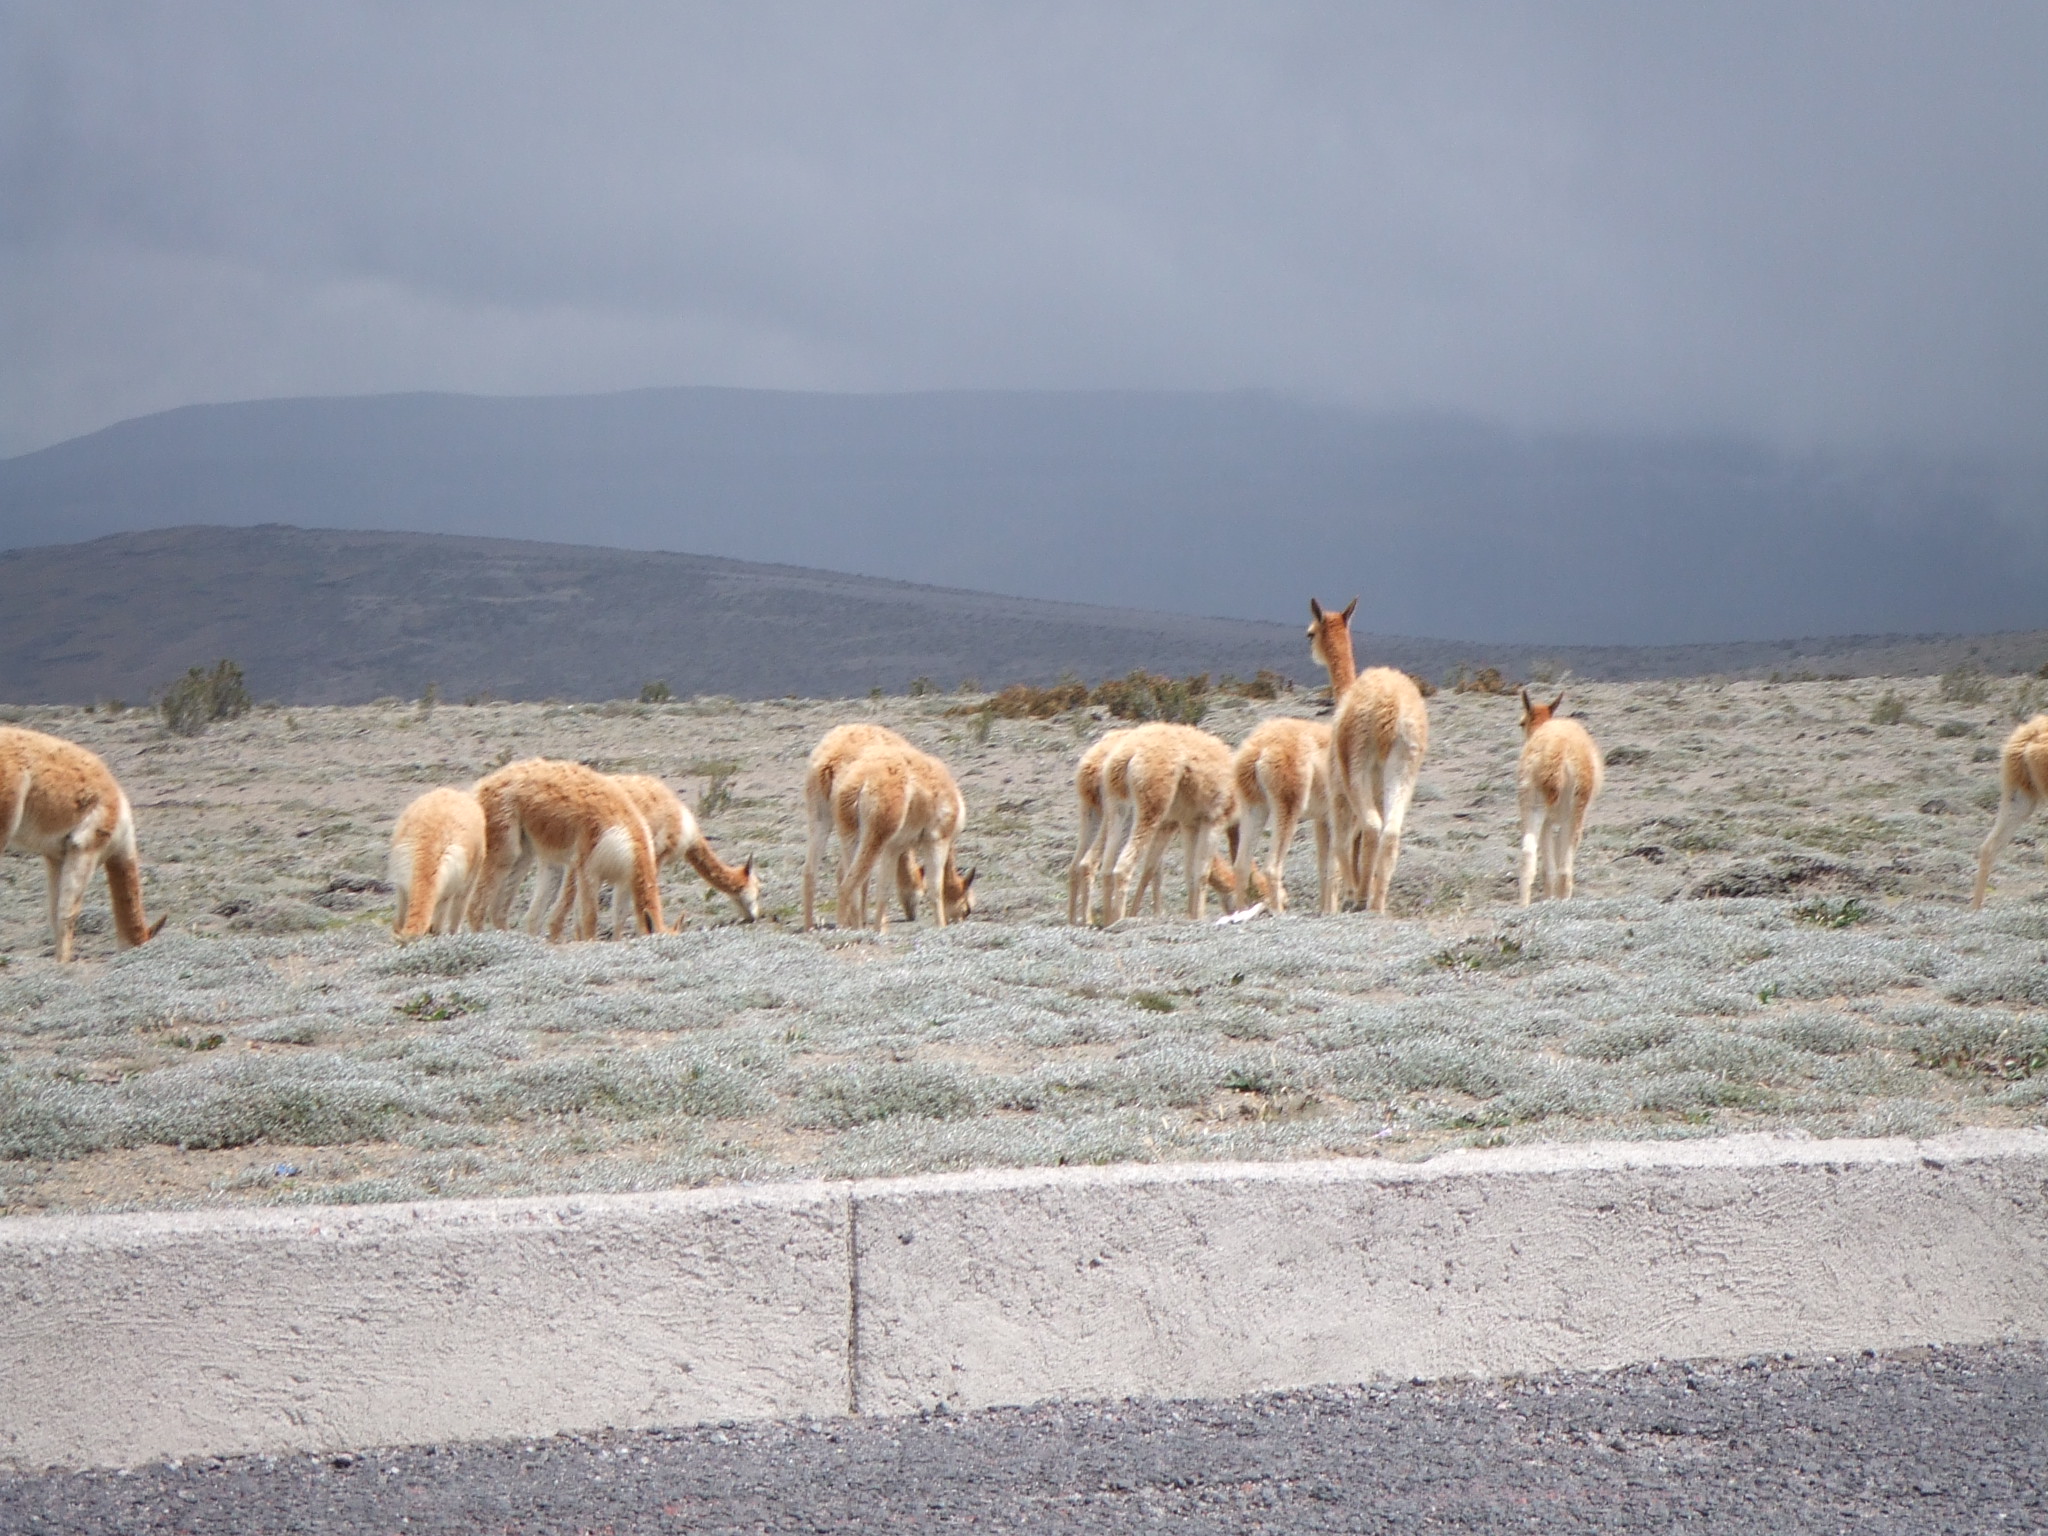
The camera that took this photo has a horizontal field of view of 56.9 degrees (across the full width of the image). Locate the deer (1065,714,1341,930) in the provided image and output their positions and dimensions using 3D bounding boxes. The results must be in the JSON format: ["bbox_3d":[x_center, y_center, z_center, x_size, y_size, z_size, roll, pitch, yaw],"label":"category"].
[{"bbox_3d":[1.390,0.403,15.592,1.996,1.675,1.480,2,5,1],"label":"deer"}]

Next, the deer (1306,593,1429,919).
[{"bbox_3d":[3.064,-0.208,16.653,0.904,2.474,6.321,3,6,12],"label":"deer"}]

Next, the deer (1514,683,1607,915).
[{"bbox_3d":[4.252,0.230,14.981,0.626,1.643,4.098,3,6,16],"label":"deer"}]

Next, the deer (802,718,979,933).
[{"bbox_3d":[-1.079,0.427,15.595,1.038,2.110,1.056,-3,4,-24],"label":"deer"}]
